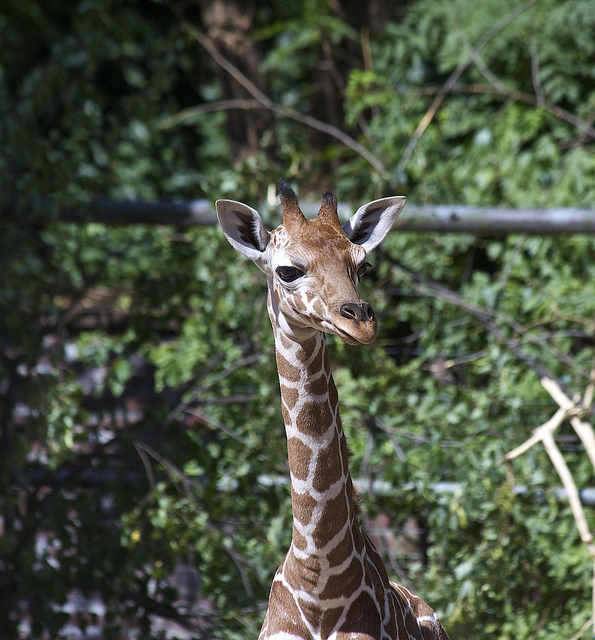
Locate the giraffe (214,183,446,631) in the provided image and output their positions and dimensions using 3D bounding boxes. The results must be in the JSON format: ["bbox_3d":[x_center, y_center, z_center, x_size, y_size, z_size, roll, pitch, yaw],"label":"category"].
[{"bbox_3d":[0.032,0.327,3.303,0.570,1.452,0.968,-11,-17,-6],"label":"giraffe"}]
